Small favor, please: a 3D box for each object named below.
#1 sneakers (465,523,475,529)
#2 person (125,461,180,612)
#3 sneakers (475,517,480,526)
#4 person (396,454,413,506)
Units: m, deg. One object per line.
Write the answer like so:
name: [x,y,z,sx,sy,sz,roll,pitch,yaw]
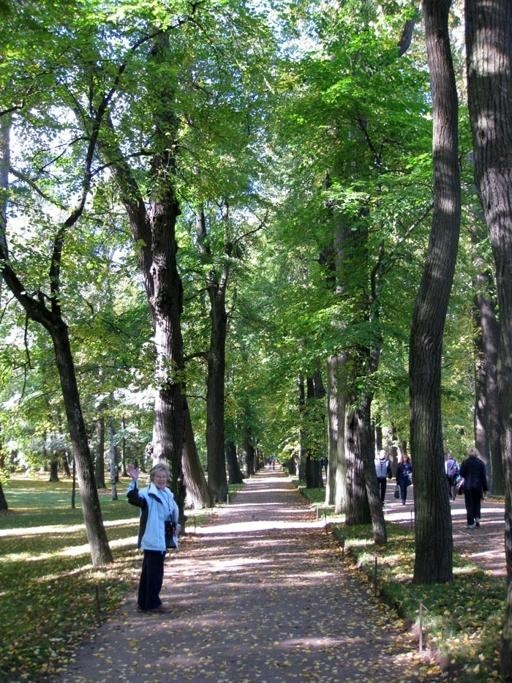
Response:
sneakers: [4.117,3.503,14.703,0.160,0.078,0.295,-8,-6,18]
person: [-1.163,2.271,9.093,0.632,1.617,0.477,-3,-4,-35]
sneakers: [4.257,3.473,14.798,0.083,0.136,0.262,-7,-5,17]
person: [4.402,4.126,22.759,0.403,1.099,1.768,-6,-5,10]
